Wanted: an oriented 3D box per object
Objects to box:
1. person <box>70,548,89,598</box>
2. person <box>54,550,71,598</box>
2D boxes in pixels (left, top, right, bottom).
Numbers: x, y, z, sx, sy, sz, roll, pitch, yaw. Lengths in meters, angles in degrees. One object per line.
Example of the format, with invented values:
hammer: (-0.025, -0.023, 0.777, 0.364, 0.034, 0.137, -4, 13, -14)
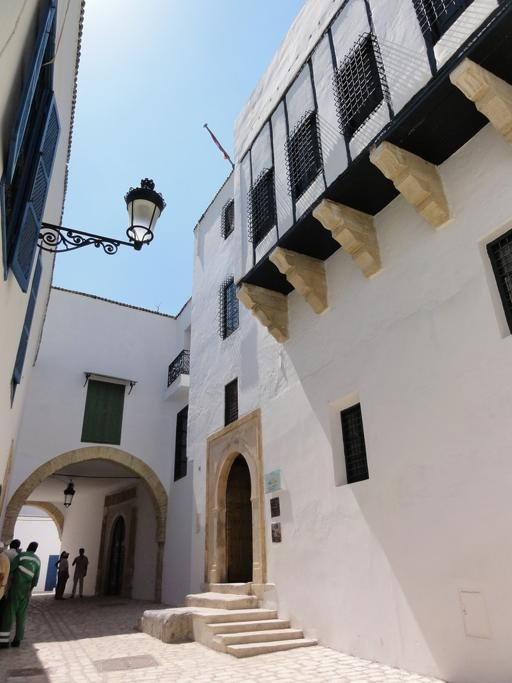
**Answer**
person: (-6.015, 7.798, 15.213, 0.491, 1.756, 0.393, 7, 4, -18)
person: (-6.255, 7.429, 14.383, 0.373, 1.367, 2.984, 7, -30, -20)
